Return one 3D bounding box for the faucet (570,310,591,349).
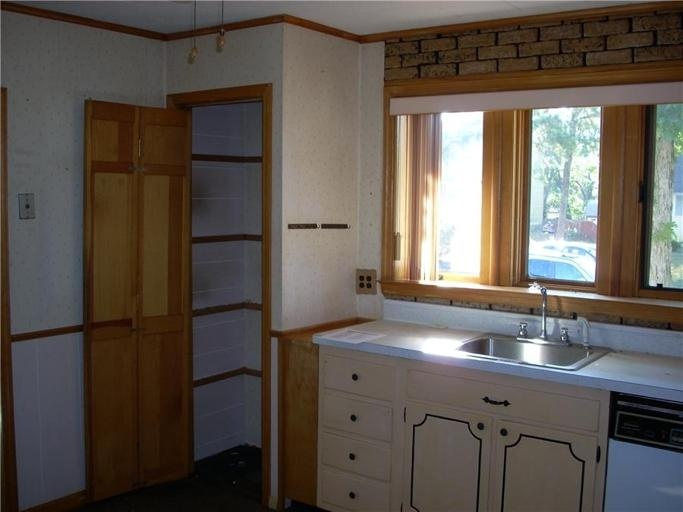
[{"bbox_3d":[1.402,0.430,3.260,0.072,0.169,0.165,-1,12,15],"label":"faucet"}]
